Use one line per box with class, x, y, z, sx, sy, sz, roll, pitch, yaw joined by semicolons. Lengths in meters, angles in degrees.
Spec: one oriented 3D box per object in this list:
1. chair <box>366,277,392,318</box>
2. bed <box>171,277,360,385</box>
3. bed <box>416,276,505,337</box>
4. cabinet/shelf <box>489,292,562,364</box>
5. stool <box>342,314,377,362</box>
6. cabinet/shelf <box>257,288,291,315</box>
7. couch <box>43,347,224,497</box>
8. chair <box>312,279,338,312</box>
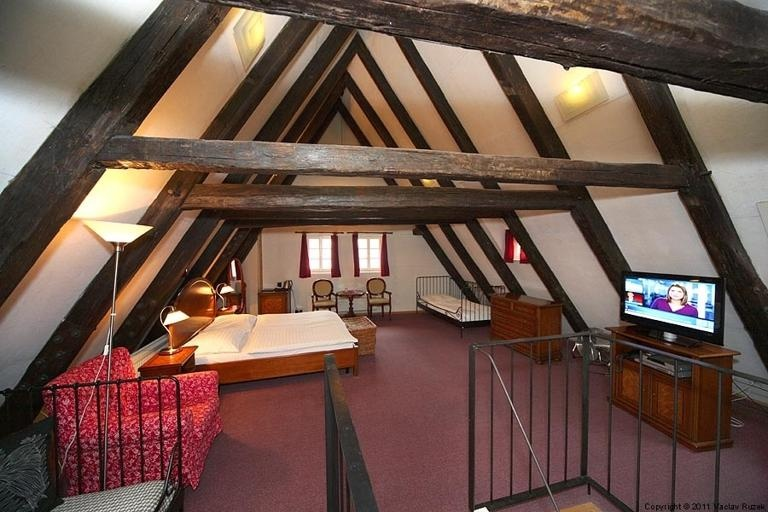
chair;-0.109;0.863;11.059;0.546;0.855;0.853;-5;-15;0
bed;-1.598;1.102;7.190;1.682;0.893;1.614;-2;2;-21
bed;1.400;0.914;10.189;0.883;0.724;1.421;-2;2;-19
cabinet/shelf;2.065;1.045;7.573;0.468;0.661;1.107;1;0;-7
stool;-0.360;1.155;8.021;0.486;0.385;0.806;-2;10;-16
cabinet/shelf;-2.019;0.837;9.829;0.679;0.562;0.462;2;6;-1
couch;-2.391;1.563;5.319;1.484;1.074;1.367;-1;4;-17
chair;-1.212;0.793;10.589;0.703;0.799;0.601;0;-1;-10
